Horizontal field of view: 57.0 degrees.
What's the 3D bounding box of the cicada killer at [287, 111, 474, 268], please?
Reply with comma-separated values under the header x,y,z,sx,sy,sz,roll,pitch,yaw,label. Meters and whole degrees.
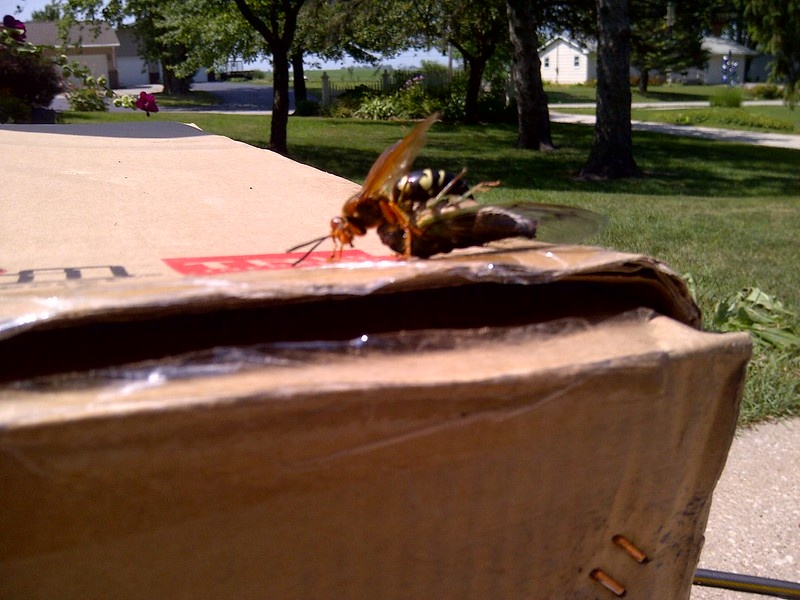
x,y,z,sx,sy,sz,roll,pitch,yaw,label
-0.055,-0.260,1.831,0.355,0.194,0.392,-34,-1,6,cicada killer
